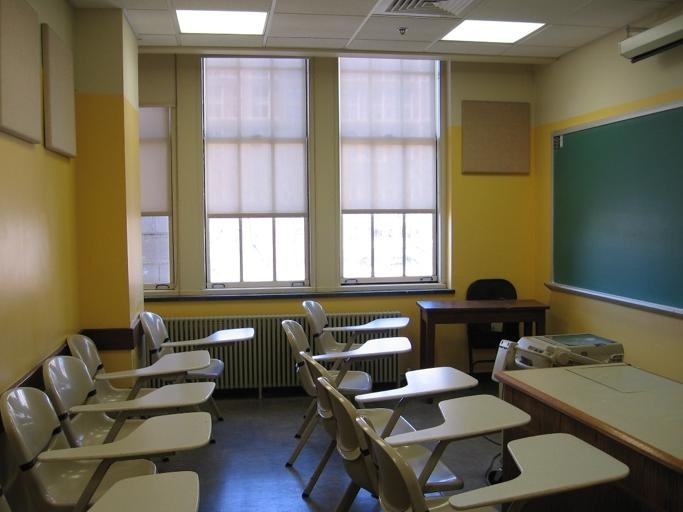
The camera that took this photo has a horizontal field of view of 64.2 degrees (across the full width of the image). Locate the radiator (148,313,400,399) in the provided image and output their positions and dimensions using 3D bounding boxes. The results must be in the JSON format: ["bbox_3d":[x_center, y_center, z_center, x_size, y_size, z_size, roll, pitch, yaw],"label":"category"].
[{"bbox_3d":[-0.400,1.031,5.604,2.091,0.856,0.070,-3,6,8],"label":"radiator"}]

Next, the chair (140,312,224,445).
[{"bbox_3d":[-1.366,0.986,4.869,0.750,1.000,0.689,-3,-1,-14],"label":"chair"}]

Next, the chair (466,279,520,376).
[{"bbox_3d":[1.632,0.830,5.846,0.548,1.068,0.641,-2,7,3],"label":"chair"}]

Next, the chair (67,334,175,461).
[{"bbox_3d":[-1.555,0.973,3.637,0.550,0.669,0.435,-8,3,-9],"label":"chair"}]

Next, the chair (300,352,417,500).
[{"bbox_3d":[-0.086,1.116,3.704,0.534,0.728,0.452,9,-27,-6],"label":"chair"}]

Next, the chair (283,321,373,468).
[{"bbox_3d":[-0.057,1.107,4.592,0.933,1.129,0.849,-2,4,-21],"label":"chair"}]

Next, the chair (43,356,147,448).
[{"bbox_3d":[-1.614,0.979,3.649,0.662,0.627,0.479,-2,6,-3],"label":"chair"}]

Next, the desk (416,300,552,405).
[{"bbox_3d":[1.500,0.880,5.762,1.184,0.828,0.602,-1,7,5],"label":"desk"}]
